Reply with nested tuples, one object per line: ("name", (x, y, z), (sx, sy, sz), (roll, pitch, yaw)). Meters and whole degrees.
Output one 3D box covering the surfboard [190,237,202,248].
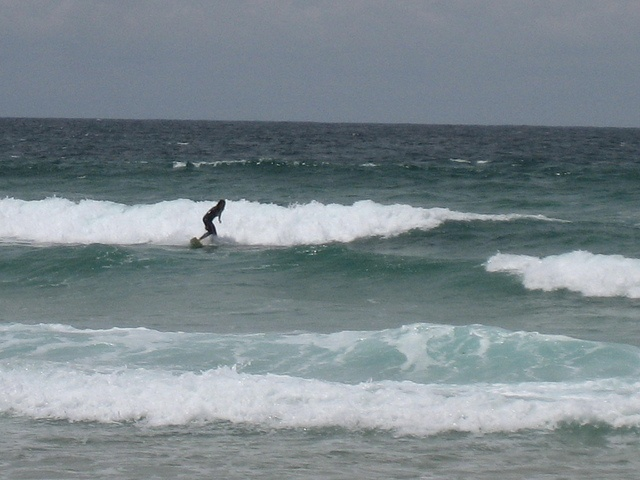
("surfboard", (-3.660, 0.044, 40.624), (0.380, 0.244, 0.097), (-4, -4, -25))
